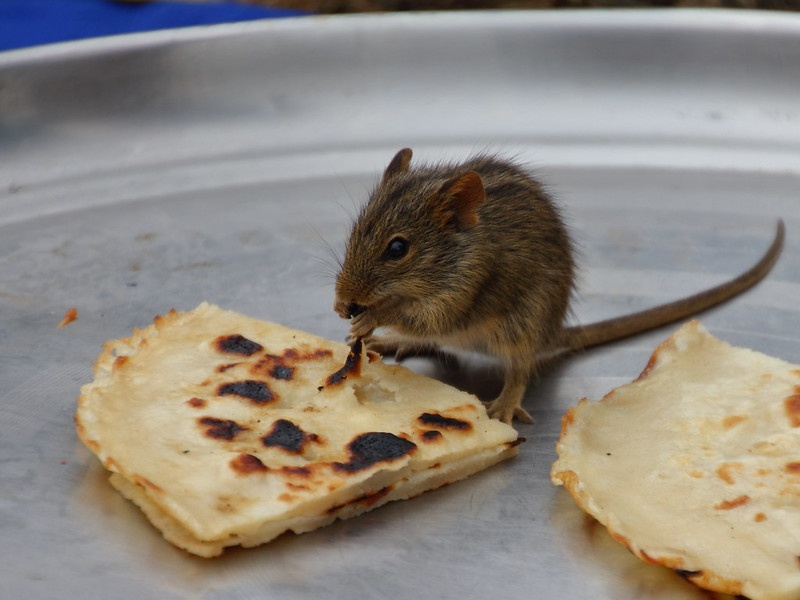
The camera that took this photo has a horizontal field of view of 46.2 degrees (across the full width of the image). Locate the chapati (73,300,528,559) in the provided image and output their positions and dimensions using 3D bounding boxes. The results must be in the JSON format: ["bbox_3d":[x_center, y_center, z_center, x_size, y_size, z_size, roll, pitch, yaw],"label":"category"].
[{"bbox_3d":[-0.665,0.594,4.623,1.738,0.315,1.591,36,56,25],"label":"chapati"}]
